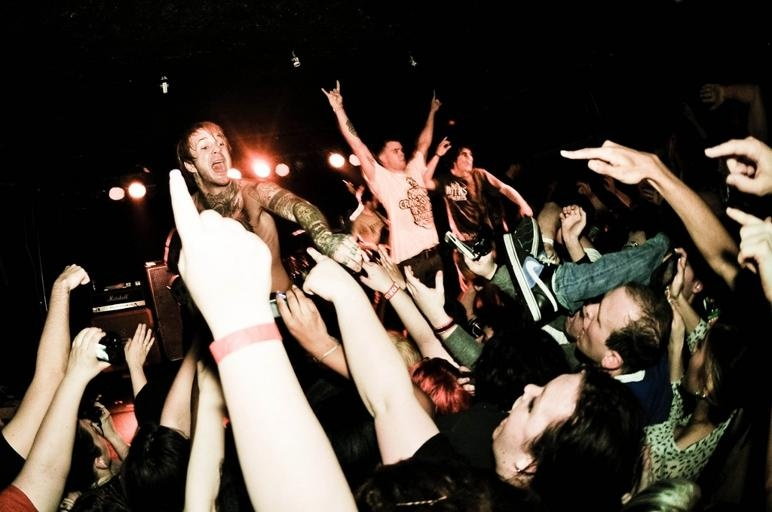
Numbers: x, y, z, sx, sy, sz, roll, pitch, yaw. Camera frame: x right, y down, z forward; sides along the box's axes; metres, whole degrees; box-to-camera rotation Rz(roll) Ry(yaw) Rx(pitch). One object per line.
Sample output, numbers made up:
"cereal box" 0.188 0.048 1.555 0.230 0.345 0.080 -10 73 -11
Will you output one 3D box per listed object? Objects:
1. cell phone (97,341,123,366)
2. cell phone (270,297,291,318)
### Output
"cell phone" -1.605 0.563 3.070 0.177 0.122 0.101 1 -12 -14
"cell phone" -0.593 0.271 2.884 0.139 0.140 0.198 1 -3 -5
